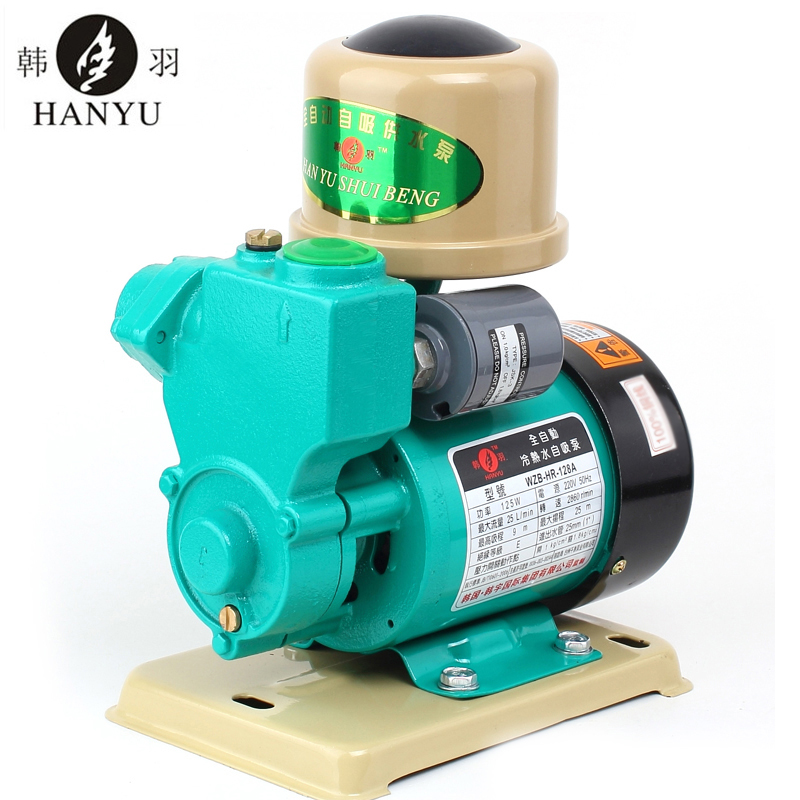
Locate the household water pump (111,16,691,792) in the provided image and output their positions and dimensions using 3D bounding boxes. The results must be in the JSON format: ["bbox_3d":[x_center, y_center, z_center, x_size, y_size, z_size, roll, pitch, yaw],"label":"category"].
[{"bbox_3d":[0.072,-0.054,1.930,1.086,1.493,0.668,-4,11,-37],"label":"household water pump"}]

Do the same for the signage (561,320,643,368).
[{"bbox_3d":[0.484,-0.138,2.238,0.119,0.045,0.197,-20,36,-32],"label":"signage"}]

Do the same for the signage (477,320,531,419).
[{"bbox_3d":[0.210,-0.074,1.777,0.044,0.148,0.119,10,11,35],"label":"signage"}]

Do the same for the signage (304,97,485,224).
[{"bbox_3d":[-0.003,-0.472,1.803,0.421,0.100,0.258,2,-3,6],"label":"signage"}]
